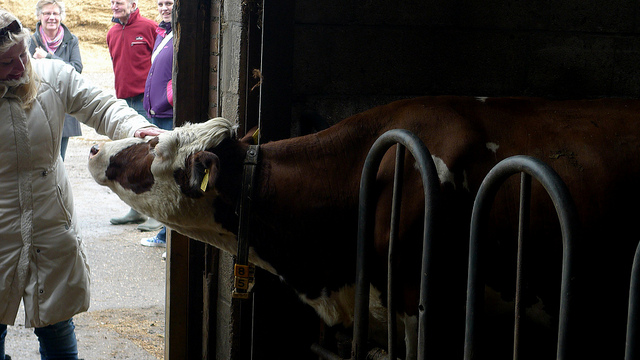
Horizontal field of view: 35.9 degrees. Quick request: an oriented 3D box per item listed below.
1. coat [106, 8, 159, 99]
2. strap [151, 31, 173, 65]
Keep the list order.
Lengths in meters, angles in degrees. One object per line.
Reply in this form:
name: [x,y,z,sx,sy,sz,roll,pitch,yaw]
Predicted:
coat: [-2.006,-1.194,10.852,0.730,1.279,0.422,0,5,26]
strap: [-1.515,-1.273,9.566,0.156,0.301,0.493,-9,14,-24]
